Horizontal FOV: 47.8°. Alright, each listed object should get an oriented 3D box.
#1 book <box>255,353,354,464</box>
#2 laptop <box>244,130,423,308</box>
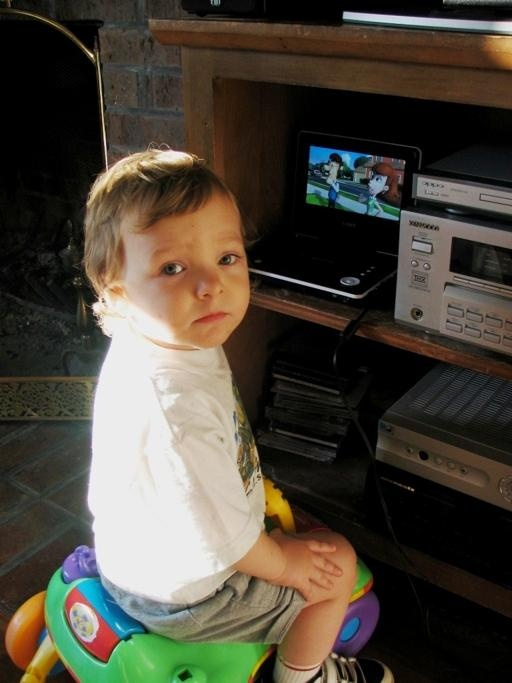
[{"bbox_3d":[0.108,0.121,1.176,0.170,0.071,0.212,13,24,14],"label":"book"},{"bbox_3d":[0.112,-0.219,0.971,0.274,0.175,0.296,-23,38,-20],"label":"laptop"}]
